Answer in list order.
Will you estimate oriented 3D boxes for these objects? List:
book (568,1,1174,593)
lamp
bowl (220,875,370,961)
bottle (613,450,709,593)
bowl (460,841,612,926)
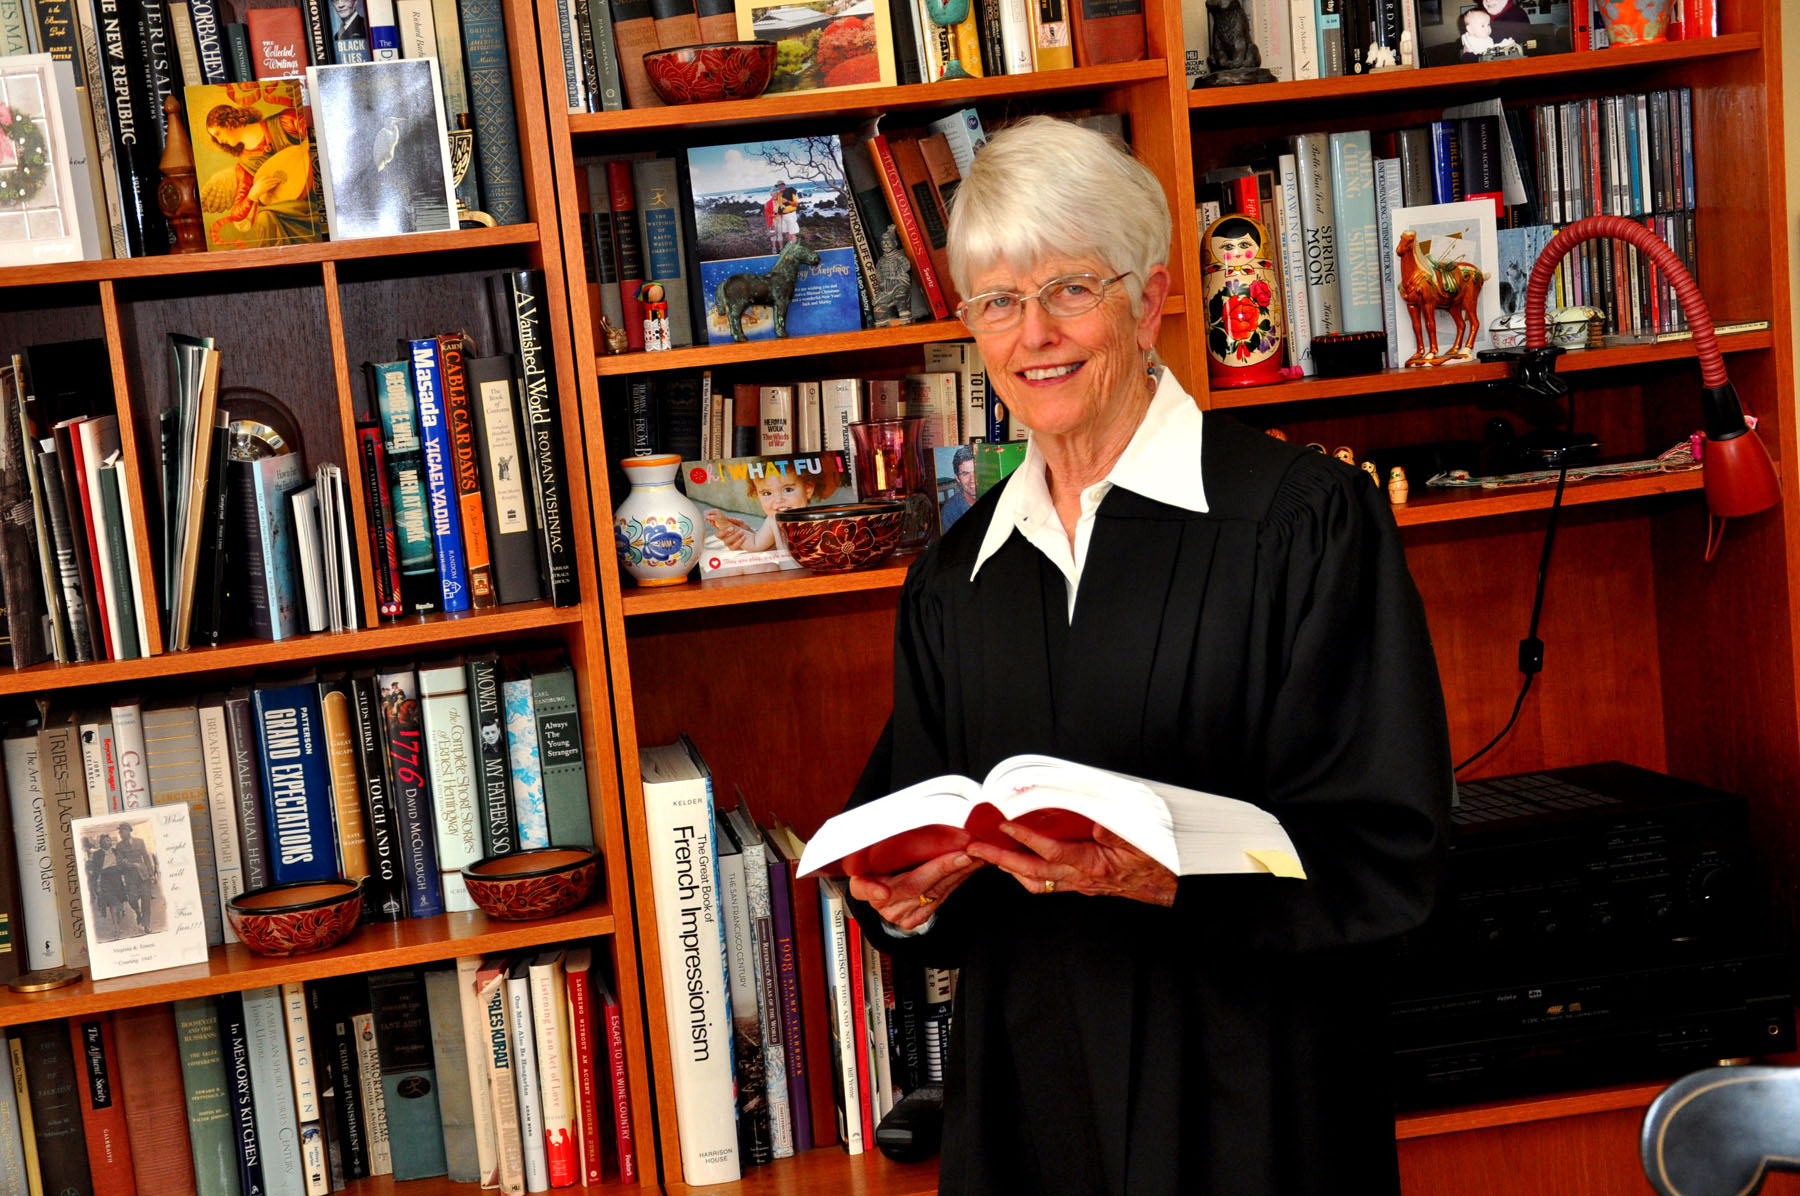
[{"bbox_3d":[-0.061,-0.524,2.922,1.047,0.941,0.327,-3,-2,3],"label":"book"},{"bbox_3d":[1.363,-0.170,3.334,0.481,1.094,0.449,-6,7,-8],"label":"lamp"},{"bbox_3d":[-1.041,0.558,2.995,0.228,0.099,0.166,-7,8,-18],"label":"bowl"},{"bbox_3d":[-0.432,-0.123,3.047,0.211,0.267,0.209,-2,-3,0],"label":"bottle"},{"bbox_3d":[-0.708,0.506,3.056,0.225,0.079,0.220,5,3,0],"label":"bowl"}]
